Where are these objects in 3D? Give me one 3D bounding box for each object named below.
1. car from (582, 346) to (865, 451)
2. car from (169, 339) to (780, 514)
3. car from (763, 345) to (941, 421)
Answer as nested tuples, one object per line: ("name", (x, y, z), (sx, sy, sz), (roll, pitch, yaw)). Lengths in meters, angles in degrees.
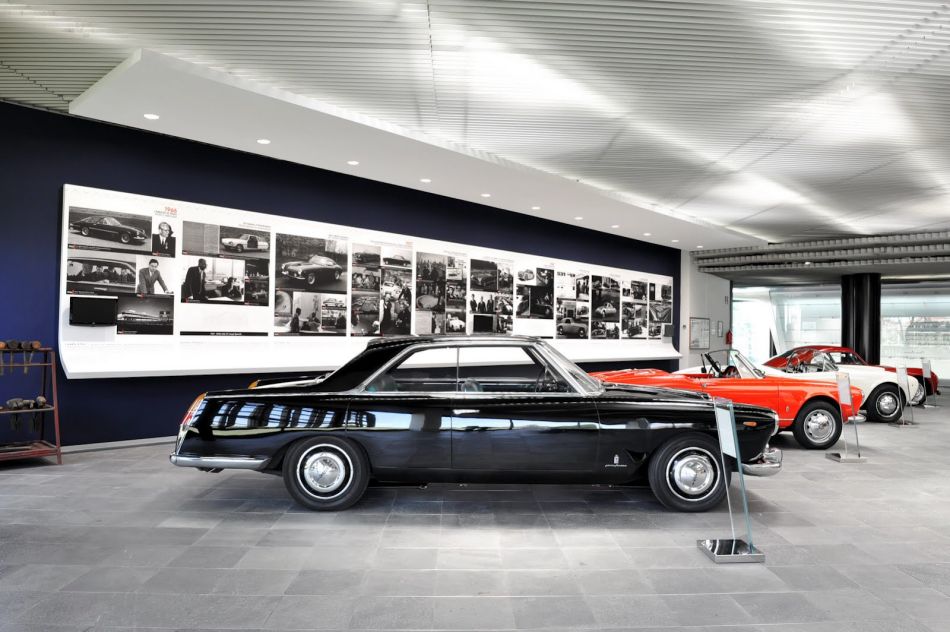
("car", (3.819, 1.161, 8.414), (4.333, 0.997, 1.606), (2, 6, -3))
("car", (0.257, 0.909, 5.729), (6.291, 1.226, 2.163), (0, 0, -3))
("car", (8.091, 1.226, 10.691), (3.860, 0.950, 1.870), (0, -1, -3))
